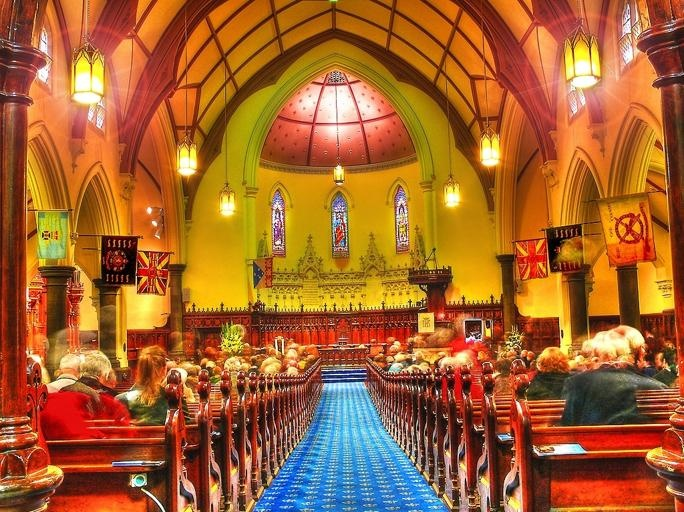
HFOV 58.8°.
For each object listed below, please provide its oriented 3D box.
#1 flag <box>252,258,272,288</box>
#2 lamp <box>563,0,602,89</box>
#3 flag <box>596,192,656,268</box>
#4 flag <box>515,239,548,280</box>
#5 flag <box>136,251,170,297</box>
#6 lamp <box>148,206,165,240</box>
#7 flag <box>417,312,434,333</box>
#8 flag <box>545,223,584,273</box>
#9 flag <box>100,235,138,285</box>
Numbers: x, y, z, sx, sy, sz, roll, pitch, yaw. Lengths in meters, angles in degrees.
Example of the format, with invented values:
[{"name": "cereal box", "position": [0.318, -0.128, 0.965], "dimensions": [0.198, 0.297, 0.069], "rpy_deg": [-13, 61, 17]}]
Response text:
[{"name": "flag", "position": [-3.331, 0.666, 25.268], "dimensions": [1.037, 1.540, 0.064], "rpy_deg": [-1, -3, 26]}, {"name": "lamp", "position": [4.255, -3.709, 10.836], "dimensions": [0.582, 1.244, 0.438], "rpy_deg": [-3, -6, 8]}, {"name": "flag", "position": [6.011, -0.581, 12.903], "dimensions": [0.988, 1.401, 0.500], "rpy_deg": [-5, -6, 25]}, {"name": "flag", "position": [5.781, 0.051, 18.540], "dimensions": [0.888, 1.160, 0.463], "rpy_deg": [-5, -7, 25]}, {"name": "flag", "position": [-6.073, 0.505, 19.399], "dimensions": [1.391, 1.849, 0.202], "rpy_deg": [3, -11, -29]}, {"name": "lamp", "position": [-7.956, -1.481, 25.950], "dimensions": [0.669, 1.314, 0.547], "rpy_deg": [-1, -6, -7]}, {"name": "flag", "position": [2.951, 2.327, 21.441], "dimensions": [0.647, 0.874, 0.121], "rpy_deg": [0, 3, 8]}, {"name": "flag", "position": [5.871, -0.235, 15.999], "dimensions": [0.996, 1.470, 0.719], "rpy_deg": [-6, -8, 30]}, {"name": "flag", "position": [-6.000, 0.078, 16.321], "dimensions": [1.098, 1.600, 0.115], "rpy_deg": [-1, 6, -6]}]
